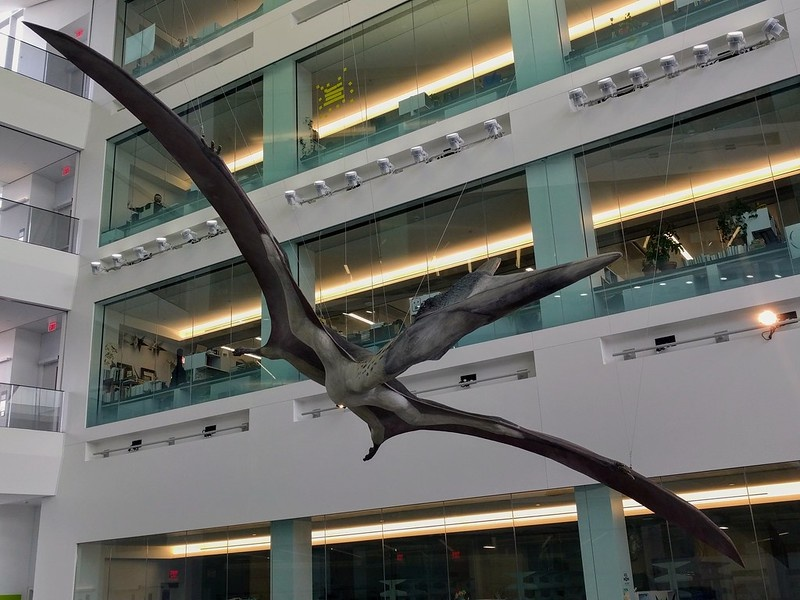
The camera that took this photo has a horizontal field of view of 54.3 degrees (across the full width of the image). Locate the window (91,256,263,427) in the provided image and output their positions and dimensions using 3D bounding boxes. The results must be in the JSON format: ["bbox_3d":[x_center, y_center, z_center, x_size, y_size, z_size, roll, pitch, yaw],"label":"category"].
[{"bbox_3d":[-5.028,1.170,19.092,6.076,3.398,0.063,-8,-24,18],"label":"window"}]

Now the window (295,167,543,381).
[{"bbox_3d":[0.536,-0.507,14.051,4.600,2.596,0.064,-16,-28,30],"label":"window"}]

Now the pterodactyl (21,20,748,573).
[{"bbox_3d":[-0.258,-0.212,8.753,5.932,5.667,3.428,-9,-20,9],"label":"pterodactyl"}]

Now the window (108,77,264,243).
[{"bbox_3d":[-4.457,-2.983,16.673,5.084,2.879,0.086,-22,-31,30],"label":"window"}]

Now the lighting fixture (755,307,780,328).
[{"bbox_3d":[6.190,0.308,13.081,0.353,0.341,0.179,-15,-21,24],"label":"lighting fixture"}]
